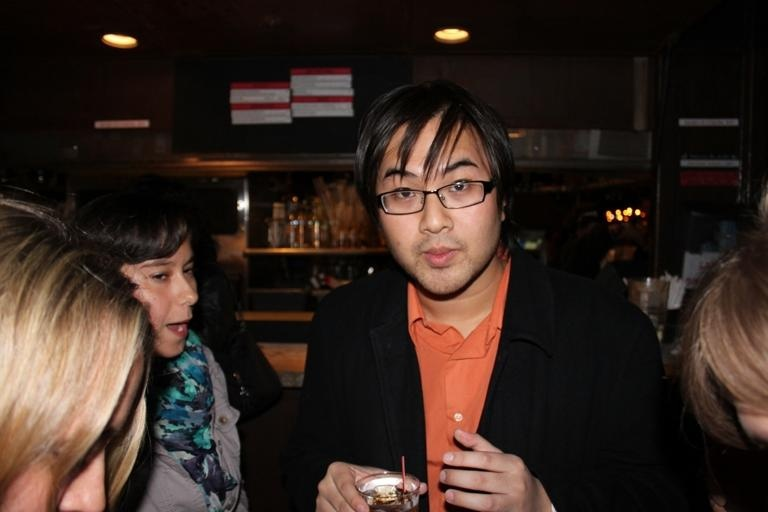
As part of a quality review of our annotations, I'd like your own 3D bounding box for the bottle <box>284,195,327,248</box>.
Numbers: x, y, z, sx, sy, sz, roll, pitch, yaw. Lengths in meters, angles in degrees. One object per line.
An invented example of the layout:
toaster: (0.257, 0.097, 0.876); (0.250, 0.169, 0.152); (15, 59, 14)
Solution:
bottle: (-0.710, -0.314, 5.768); (0.459, 0.545, 0.428); (-2, 0, 0)
